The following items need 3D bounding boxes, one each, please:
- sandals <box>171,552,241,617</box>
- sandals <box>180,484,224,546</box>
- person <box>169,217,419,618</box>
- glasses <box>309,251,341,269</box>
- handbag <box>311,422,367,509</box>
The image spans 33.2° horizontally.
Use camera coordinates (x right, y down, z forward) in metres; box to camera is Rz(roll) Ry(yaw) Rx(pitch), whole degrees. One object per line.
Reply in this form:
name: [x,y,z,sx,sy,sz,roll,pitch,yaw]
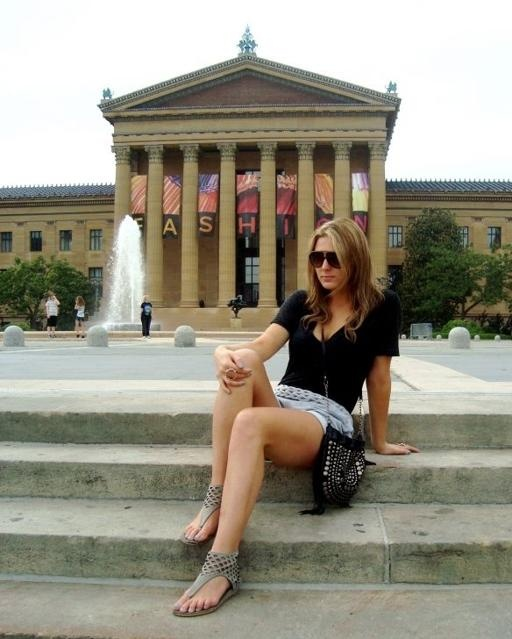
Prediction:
sandals: [-0.179,0.986,3.236,0.146,0.186,0.320,2,2,23]
sandals: [-0.216,0.803,3.510,0.191,0.216,0.129,0,2,-24]
person: [0.151,0.297,3.805,0.640,1.530,1.548,2,2,31]
glasses: [0.310,-0.282,3.976,0.100,0.043,0.103,-1,-8,38]
handbag: [0.361,0.670,3.842,0.251,0.395,0.254,1,2,-8]
